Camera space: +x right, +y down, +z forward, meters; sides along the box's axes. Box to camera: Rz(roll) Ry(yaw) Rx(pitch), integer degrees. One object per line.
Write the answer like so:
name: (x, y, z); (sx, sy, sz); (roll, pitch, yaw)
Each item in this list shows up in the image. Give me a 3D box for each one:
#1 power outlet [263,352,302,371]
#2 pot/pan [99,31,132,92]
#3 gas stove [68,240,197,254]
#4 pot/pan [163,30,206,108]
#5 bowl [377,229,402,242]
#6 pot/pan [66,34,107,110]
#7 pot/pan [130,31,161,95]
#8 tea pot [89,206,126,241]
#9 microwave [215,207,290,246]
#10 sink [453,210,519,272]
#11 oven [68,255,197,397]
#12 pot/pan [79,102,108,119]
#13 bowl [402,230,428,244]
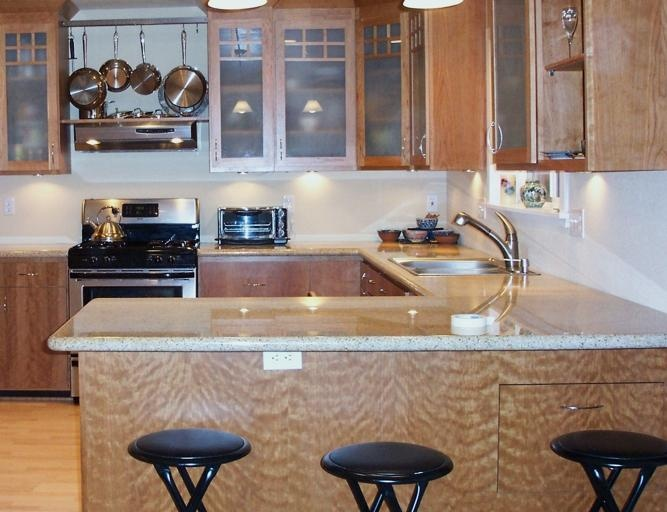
power outlet: (-0.175, 0.351, 2.297); (0.129, 0.070, 0.061); (1, 8, 0)
pot/pan: (-1.538, -1.337, 4.767); (0.267, 0.388, 0.054); (-1, 2, 9)
gas stove: (-1.313, -0.076, 4.656); (0.811, 0.062, 0.502); (-2, 6, -2)
pot/pan: (-1.036, -1.255, 4.697); (0.345, 0.503, 0.079); (-1, 8, 10)
bowl: (0.411, -0.146, 4.937); (0.119, 0.049, 0.111); (0, 6, 0)
pot/pan: (-1.695, -1.223, 4.621); (0.326, 0.475, 0.060); (-1, 8, -5)
pot/pan: (-1.323, -1.337, 4.767); (0.261, 0.400, 0.061); (0, 10, 10)
tea pot: (-1.597, -0.224, 4.831); (0.307, 0.226, 0.224); (0, 3, -7)
microwave: (-0.580, -0.142, 4.817); (0.440, 0.213, 0.287); (0, -1, -5)
sink: (0.792, -0.073, 3.408); (0.243, 0.303, 0.464); (2, 7, 34)
oven: (-1.398, 0.174, 4.767); (0.872, 0.833, 0.610); (-2, 33, -17)
pot/pan: (-1.672, -1.000, 4.755); (0.166, 0.139, 0.135); (-3, 21, -16)
bowl: (0.578, -0.143, 4.799); (0.171, 0.097, 0.148); (-1, 6, 8)
